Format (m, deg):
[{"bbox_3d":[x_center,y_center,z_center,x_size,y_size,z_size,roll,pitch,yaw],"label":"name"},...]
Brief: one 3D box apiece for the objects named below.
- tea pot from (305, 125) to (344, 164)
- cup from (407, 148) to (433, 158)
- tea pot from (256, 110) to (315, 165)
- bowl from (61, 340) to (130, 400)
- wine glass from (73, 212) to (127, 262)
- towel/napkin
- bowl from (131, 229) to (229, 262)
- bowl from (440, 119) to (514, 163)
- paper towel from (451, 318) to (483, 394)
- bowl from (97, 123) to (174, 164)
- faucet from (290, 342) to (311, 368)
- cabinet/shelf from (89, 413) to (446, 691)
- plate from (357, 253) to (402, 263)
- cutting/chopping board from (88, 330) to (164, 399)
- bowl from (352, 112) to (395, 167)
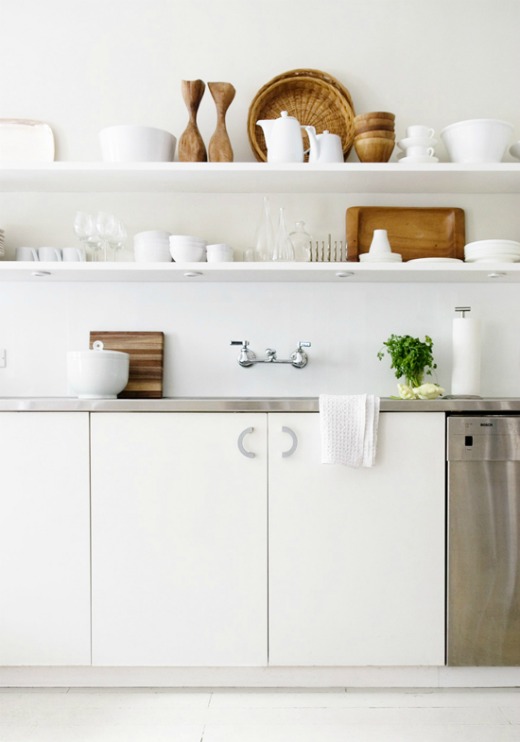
[{"bbox_3d":[0.221,-0.752,2.560,0.101,0.116,0.161,1,3,24],"label":"tea pot"},{"bbox_3d":[0.555,-0.743,2.578,0.068,0.034,0.049,2,3,11],"label":"cup"},{"bbox_3d":[0.079,-0.775,2.571,0.201,0.213,0.145,-1,1,1],"label":"tea pot"},{"bbox_3d":[-0.528,0.005,2.464,0.169,0.164,0.171,0,-10,0],"label":"bowl"},{"bbox_3d":[-0.558,-0.474,2.674,0.166,0.168,0.275,-2,10,-10],"label":"wine glass"},{"bbox_3d":[0.271,0.174,2.256,0.191,0.205,0.062,-1,1,3],"label":"towel/napkin"},{"bbox_3d":[-0.275,-0.413,2.575,0.210,0.080,0.152,0,0,-2],"label":"bowl"},{"bbox_3d":[0.736,-0.758,2.522,0.174,0.109,0.177,-2,5,0],"label":"bowl"},{"bbox_3d":[0.719,-0.047,2.637,0.096,0.258,0.104,2,9,15],"label":"paper towel"},{"bbox_3d":[-0.417,-0.755,2.531,0.217,0.078,0.236,1,-2,0],"label":"bowl"},{"bbox_3d":[0.143,-0.058,2.719,0.065,0.092,0.093,1,17,-4],"label":"faucet"},{"bbox_3d":[0.023,0.480,2.549,1.110,0.782,0.573,0,6,0],"label":"cabinet/shelf"},{"bbox_3d":[0.412,-0.385,2.586,0.138,0.035,0.152,2,10,8],"label":"plate"},{"bbox_3d":[-0.460,-0.021,2.708,0.237,0.240,0.027,0,3,-39],"label":"cutting/chopping board"},{"bbox_3d":[0.378,-0.779,2.597,0.164,0.180,0.167,-1,4,0],"label":"bowl"}]
